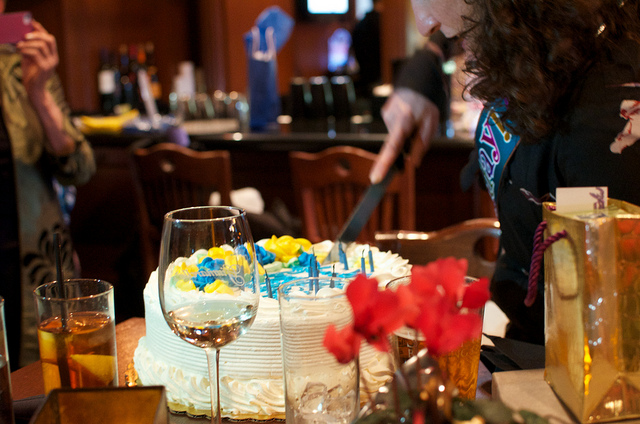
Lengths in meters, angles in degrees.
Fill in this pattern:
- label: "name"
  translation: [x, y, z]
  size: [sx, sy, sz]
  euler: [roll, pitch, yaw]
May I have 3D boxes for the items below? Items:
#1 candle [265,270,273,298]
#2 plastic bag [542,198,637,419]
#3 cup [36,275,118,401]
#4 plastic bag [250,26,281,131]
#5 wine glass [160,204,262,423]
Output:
- label: "candle"
  translation: [-0.102, 0.148, 1.238]
  size: [0.012, 0.041, 0.068]
  euler: [-6, 13, -5]
- label: "plastic bag"
  translation: [0.434, 0.167, 1.008]
  size: [0.149, 0.345, 0.100]
  euler: [2, 14, 27]
- label: "cup"
  translation: [-0.441, 0.235, 1.132]
  size: [0.111, 0.206, 0.120]
  euler: [3, 15, -1]
- label: "plastic bag"
  translation: [-0.325, -0.769, 3.668]
  size: [0.089, 0.610, 0.156]
  euler: [-7, 17, -18]
- label: "wine glass"
  translation: [-0.179, 0.192, 1.103]
  size: [0.184, 0.394, 0.237]
  euler: [-7, 13, -13]
